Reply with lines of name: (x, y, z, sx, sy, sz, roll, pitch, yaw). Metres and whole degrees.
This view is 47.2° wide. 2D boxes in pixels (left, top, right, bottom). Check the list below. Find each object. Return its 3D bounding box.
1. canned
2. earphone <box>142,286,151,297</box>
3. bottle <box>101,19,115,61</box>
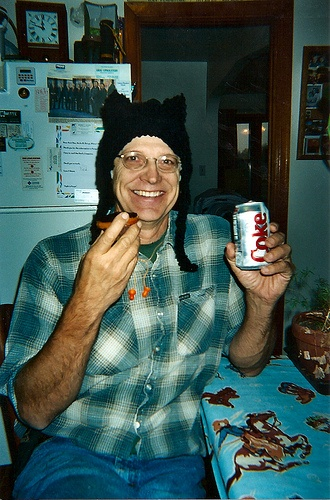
canned: (0.212, -0.028, 0.968, 0.090, 0.194, 0.115, 3, 10, 0)
earphone: (-0.057, 0.122, 1.109, 0.012, 0.028, 0.018, 19, 2, 30)
bottle: (-0.287, -1.032, 1.880, 0.072, 0.193, 0.079, 1, 10, -11)
